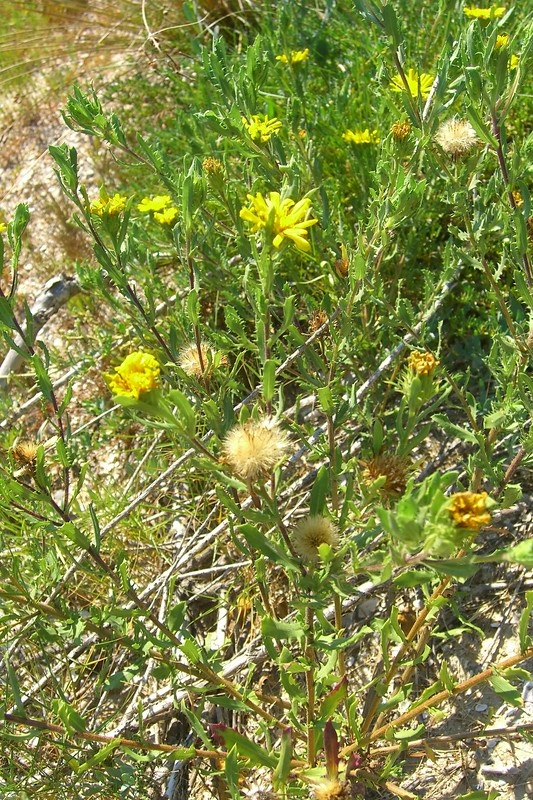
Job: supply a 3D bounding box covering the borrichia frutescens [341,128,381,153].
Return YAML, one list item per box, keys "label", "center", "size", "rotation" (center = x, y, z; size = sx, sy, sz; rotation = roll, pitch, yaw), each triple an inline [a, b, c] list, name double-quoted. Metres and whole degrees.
- label: "borrichia frutescens"
  center: [0.361, -0.987, 2.808]
  size: [0.158, 0.060, 0.153]
  rotation: [-5, 13, 6]
